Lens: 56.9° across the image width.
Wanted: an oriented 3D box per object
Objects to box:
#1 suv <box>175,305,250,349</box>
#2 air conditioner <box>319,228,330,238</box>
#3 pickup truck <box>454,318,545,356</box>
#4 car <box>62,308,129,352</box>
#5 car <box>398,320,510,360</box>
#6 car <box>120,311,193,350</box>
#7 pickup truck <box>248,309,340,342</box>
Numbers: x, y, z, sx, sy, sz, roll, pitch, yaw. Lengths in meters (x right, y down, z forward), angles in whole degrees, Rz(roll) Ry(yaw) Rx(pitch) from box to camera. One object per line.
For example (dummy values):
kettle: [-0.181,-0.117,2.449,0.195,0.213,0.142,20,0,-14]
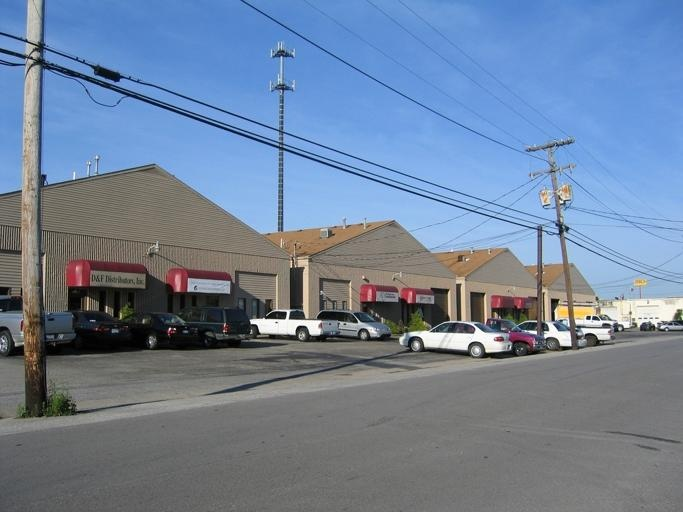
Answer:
suv: [-5.996,3.314,29.833,4.100,1.679,1.703,-2,-3,35]
air conditioner: [-1.390,-1.977,53.441,0.628,0.832,1.159,-1,-3,13]
pickup truck: [8.380,4.248,31.756,3.386,1.637,1.979,-5,-4,22]
car: [-10.301,3.236,27.077,2.524,1.902,2.055,1,-4,43]
car: [5.307,3.856,29.348,4.679,1.432,1.853,1,-3,34]
car: [-8.307,3.331,28.350,3.951,1.508,1.721,-2,-4,38]
pickup truck: [-2.961,4.162,37.462,5.292,1.839,1.920,-2,-4,33]
